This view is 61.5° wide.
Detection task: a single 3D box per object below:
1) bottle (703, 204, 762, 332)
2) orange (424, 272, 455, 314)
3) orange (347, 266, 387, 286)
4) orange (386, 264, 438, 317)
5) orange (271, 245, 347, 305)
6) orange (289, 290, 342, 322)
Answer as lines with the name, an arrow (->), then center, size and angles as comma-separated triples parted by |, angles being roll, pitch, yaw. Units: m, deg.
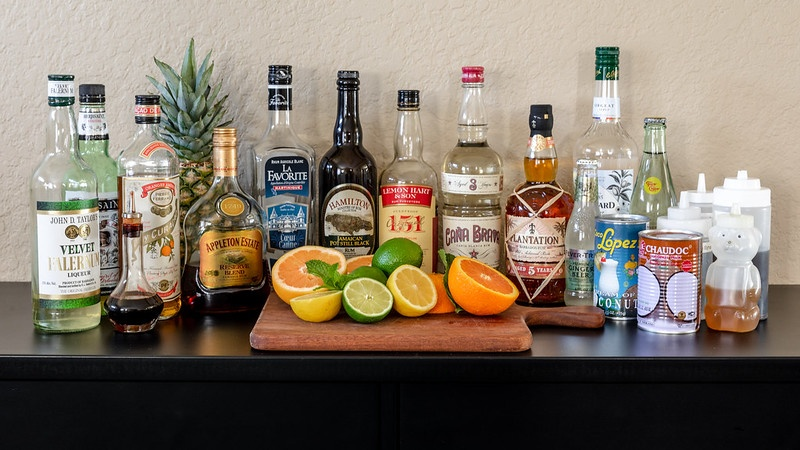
bottle -> 0.829, 0.118, 1.665 | 0.125, 0.292, 0.058 | 0, 13, 8
orange -> 0.107, 0.180, 1.761 | 0.100, 0.096, 0.090 | -1, 1, -12
orange -> -0.079, 0.124, 1.676 | 0.072, 0.037, 0.050 | 8, 6, -28
orange -> 0.010, 0.164, 1.714 | 0.142, 0.124, 0.081 | 21, -45, -30
orange -> -0.226, 0.132, 1.744 | 0.173, 0.083, 0.150 | -2, 36, 3
orange -> -0.204, 0.211, 1.674 | 0.122, 0.056, 0.110 | -2, -7, -20
